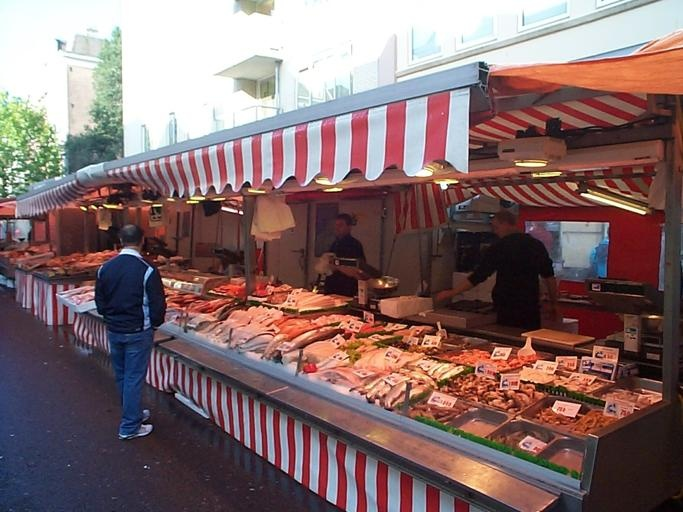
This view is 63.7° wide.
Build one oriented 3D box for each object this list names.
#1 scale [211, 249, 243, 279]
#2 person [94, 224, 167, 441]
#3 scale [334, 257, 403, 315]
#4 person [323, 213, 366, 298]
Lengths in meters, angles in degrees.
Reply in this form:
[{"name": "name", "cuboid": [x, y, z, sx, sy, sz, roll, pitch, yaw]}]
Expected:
[{"name": "scale", "cuboid": [-2.076, 0.135, 10.196, 0.583, 0.275, 0.790, 7, -12, 5]}, {"name": "person", "cuboid": [-2.072, 0.739, 5.514, 0.684, 2.006, 0.547, -3, -3, 19]}, {"name": "scale", "cuboid": [0.311, 0.308, 6.315, 0.359, 0.690, 1.049, -2, -1, -35]}, {"name": "person", "cuboid": [-0.010, 0.288, 7.706, 0.701, 1.643, 0.496, 6, 8, 44]}]
